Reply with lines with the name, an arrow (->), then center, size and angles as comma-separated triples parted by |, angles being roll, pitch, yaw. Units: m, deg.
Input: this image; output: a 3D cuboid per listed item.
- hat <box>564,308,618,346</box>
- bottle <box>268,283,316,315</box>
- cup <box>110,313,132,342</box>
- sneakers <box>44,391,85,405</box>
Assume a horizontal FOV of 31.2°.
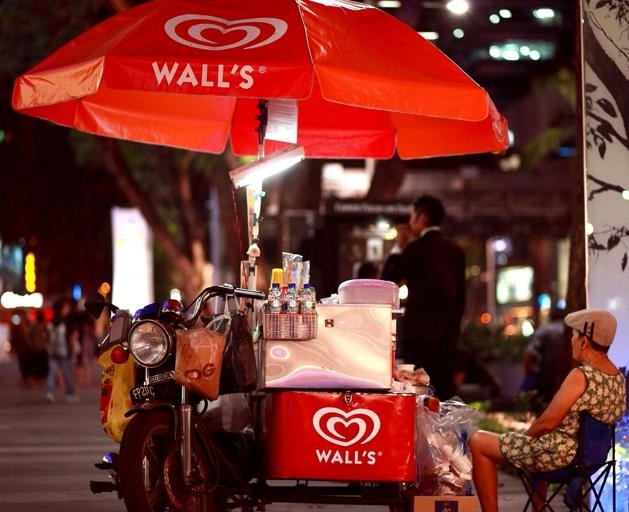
hat -> 2.177, 0.530, 8.882 | 0.344, 0.232, 0.241 | 20, 20, 31
bottle -> -0.181, 0.334, 8.627 | 0.232, 0.184, 0.264 | 1, -8, -2
cup -> -1.448, 0.529, 8.379 | 0.107, 0.226, 0.118 | 6, -38, -1
sneakers -> -4.757, 2.658, 21.285 | 0.553, 0.315, 0.195 | 0, 24, -6
